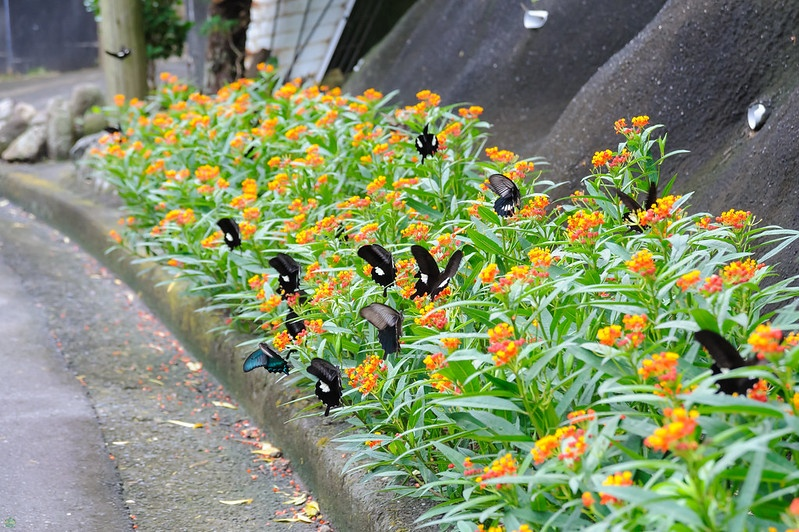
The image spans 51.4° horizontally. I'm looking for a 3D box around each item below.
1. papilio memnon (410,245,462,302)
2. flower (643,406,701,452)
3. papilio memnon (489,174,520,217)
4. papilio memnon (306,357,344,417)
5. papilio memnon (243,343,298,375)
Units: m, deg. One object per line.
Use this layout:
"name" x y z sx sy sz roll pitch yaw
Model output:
"papilio memnon" 0.145 0.038 3.653 0.220 0.216 0.217 4 -13 -21
"flower" 0.977 0.606 2.923 0.079 0.177 0.167 38 -13 -11
"papilio memnon" 0.514 -0.332 4.034 0.123 0.177 0.161 -24 0 33
"papilio memnon" -0.292 0.556 3.926 0.170 0.270 0.246 1 5 25
"papilio memnon" -0.653 0.506 4.214 0.176 0.136 0.202 -29 13 4
